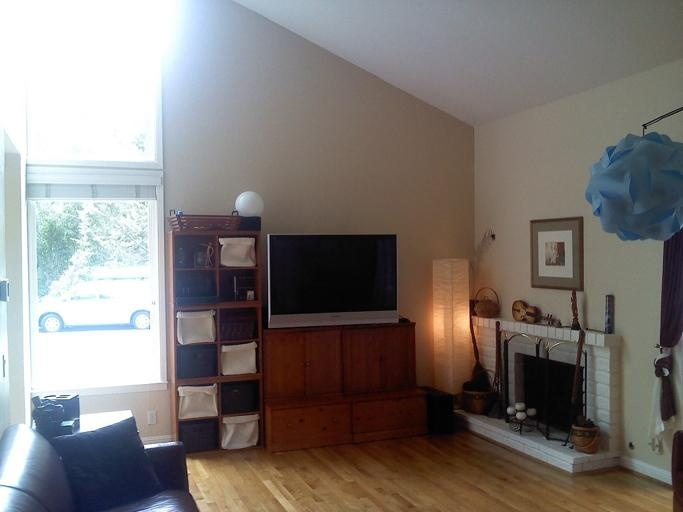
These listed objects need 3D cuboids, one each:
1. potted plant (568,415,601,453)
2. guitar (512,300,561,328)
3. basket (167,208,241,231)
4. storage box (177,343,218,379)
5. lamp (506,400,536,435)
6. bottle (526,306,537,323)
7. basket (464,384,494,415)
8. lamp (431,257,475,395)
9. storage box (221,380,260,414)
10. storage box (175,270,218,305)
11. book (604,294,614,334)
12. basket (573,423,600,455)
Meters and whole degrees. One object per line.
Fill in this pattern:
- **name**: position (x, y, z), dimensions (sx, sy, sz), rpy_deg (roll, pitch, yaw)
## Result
- **potted plant**: position (2.355, 1.739, 5.423), dimensions (0.298, 0.334, 0.255), rpy_deg (-4, 6, -44)
- **guitar**: position (2.165, 0.669, 6.232), dimensions (0.176, 0.224, 0.679), rpy_deg (-7, 11, -22)
- **basket**: position (-1.436, -0.356, 5.861), dimensions (0.729, 0.242, 0.375), rpy_deg (-6, 11, -13)
- **storage box**: position (-1.505, 1.120, 5.850), dimensions (0.498, 0.415, 0.293), rpy_deg (1, -5, -19)
- **lamp**: position (1.942, 1.731, 6.045), dimensions (0.271, 0.225, 0.286), rpy_deg (-3, 7, -41)
- **bottle**: position (2.139, 0.666, 6.267), dimensions (0.121, 0.163, 0.109), rpy_deg (0, 10, 19)
- **basket**: position (1.599, 1.721, 6.651), dimensions (0.276, 0.238, 0.317), rpy_deg (1, -8, -1)
- **lamp**: position (1.334, 0.859, 6.790), dimensions (0.441, 1.633, 0.377), rpy_deg (0, 10, 21)
- **storage box**: position (-1.072, 1.539, 5.962), dimensions (0.488, 0.401, 0.279), rpy_deg (1, -6, -21)
- **storage box**: position (-1.543, 0.347, 5.909), dimensions (0.315, 0.323, 0.106), rpy_deg (-1, 0, -30)
- **book**: position (2.639, 0.575, 5.476), dimensions (0.086, 0.371, 0.130), rpy_deg (1, 10, 24)
- **basket**: position (2.395, 1.758, 5.468), dimensions (0.241, 0.227, 0.247), rpy_deg (4, 7, 40)
